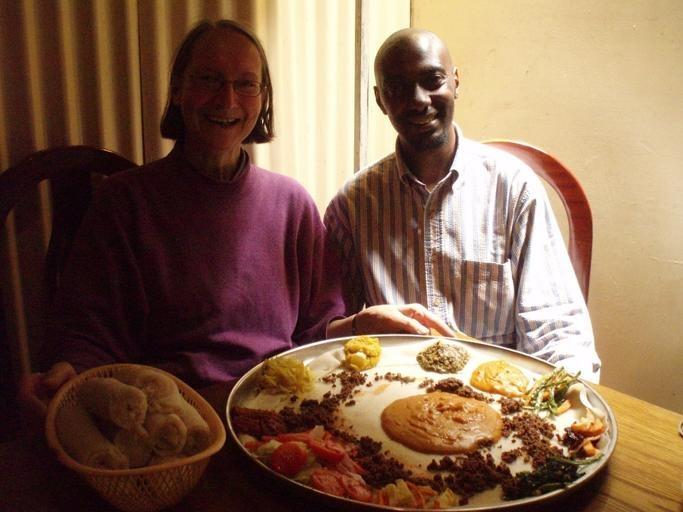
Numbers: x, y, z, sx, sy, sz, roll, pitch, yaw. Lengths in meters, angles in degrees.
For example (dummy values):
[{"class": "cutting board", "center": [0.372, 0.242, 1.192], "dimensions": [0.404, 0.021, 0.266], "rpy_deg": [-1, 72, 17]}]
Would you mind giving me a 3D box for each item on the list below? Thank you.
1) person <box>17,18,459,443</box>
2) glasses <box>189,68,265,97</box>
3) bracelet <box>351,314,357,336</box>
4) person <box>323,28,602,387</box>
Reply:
[{"class": "person", "center": [-0.373, -0.145, 1.826], "dimensions": [1.297, 1.174, 0.670], "rpy_deg": [-5, 9, -32]}, {"class": "glasses", "center": [-0.360, -0.533, 1.817], "dimensions": [0.235, 0.064, 0.077], "rpy_deg": [-2, 12, -15]}, {"class": "bracelet", "center": [0.040, 0.230, 1.924], "dimensions": [0.011, 0.049, 0.047], "rpy_deg": [2, -17, 9]}, {"class": "person", "center": [0.347, -0.134, 2.149], "dimensions": [0.982, 1.396, 0.801], "rpy_deg": [-5, 3, 24]}]
